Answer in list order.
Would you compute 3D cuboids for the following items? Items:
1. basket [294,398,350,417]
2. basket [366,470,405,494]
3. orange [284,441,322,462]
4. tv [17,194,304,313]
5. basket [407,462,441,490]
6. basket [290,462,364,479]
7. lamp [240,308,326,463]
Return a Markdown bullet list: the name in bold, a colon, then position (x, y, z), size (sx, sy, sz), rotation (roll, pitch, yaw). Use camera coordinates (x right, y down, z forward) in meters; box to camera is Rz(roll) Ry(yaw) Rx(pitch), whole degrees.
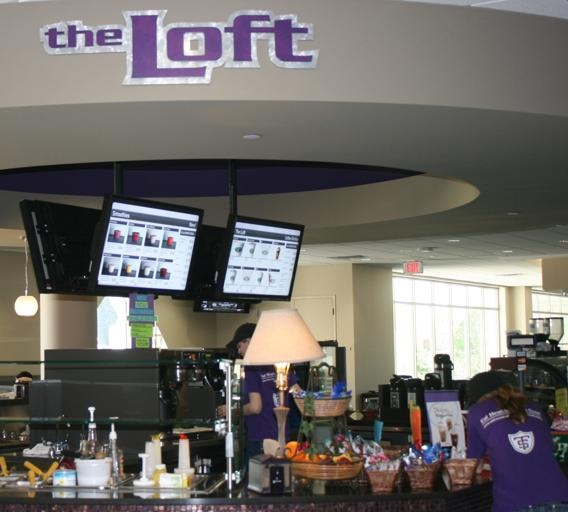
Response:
- **basket**: position (0.208, 0.839, 3.407), size (0.174, 0.056, 0.173), rotation (-4, -8, 35)
- **basket**: position (0.514, 1.137, 3.119), size (0.160, 0.106, 0.128), rotation (1, -18, -1)
- **orange**: position (0.102, 1.053, 3.254), size (0.092, 0.052, 0.129), rotation (7, 1, -40)
- **tv**: position (-0.839, -0.015, 4.343), size (0.824, 0.651, 1.797), rotation (-7, -10, 42)
- **basket**: position (0.735, 1.128, 3.181), size (0.170, 0.120, 0.138), rotation (0, -15, 1)
- **basket**: position (0.215, 1.124, 3.186), size (0.356, 0.103, 0.103), rotation (0, -8, 5)
- **lamp**: position (-0.016, 0.627, 3.582), size (0.474, 0.705, 0.491), rotation (-1, 14, 6)
